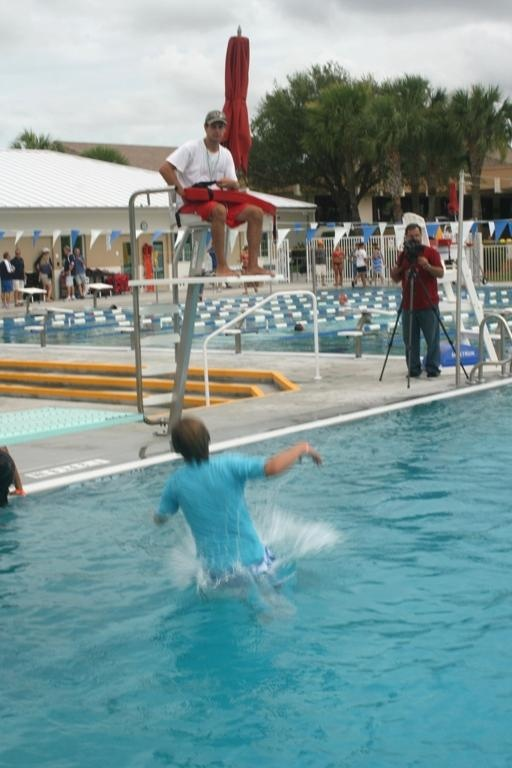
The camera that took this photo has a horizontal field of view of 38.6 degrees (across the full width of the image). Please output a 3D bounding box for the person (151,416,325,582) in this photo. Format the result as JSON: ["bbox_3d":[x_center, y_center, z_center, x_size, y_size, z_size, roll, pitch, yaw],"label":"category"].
[{"bbox_3d":[-0.096,0.706,4.322,0.601,0.827,0.310,-15,23,23],"label":"person"}]

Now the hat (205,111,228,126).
[{"bbox_3d":[-0.323,-2.097,5.743,0.150,0.117,0.360,-3,8,-4],"label":"hat"}]

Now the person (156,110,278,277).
[{"bbox_3d":[-0.326,-1.553,6.004,0.826,1.354,0.749,0,8,14],"label":"person"}]

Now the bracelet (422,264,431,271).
[{"bbox_3d":[2.073,-1.406,8.906,0.071,0.076,0.071,-4,5,-27],"label":"bracelet"}]

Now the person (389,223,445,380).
[{"bbox_3d":[2.055,-1.023,9.315,0.628,1.979,1.039,0,8,13],"label":"person"}]
